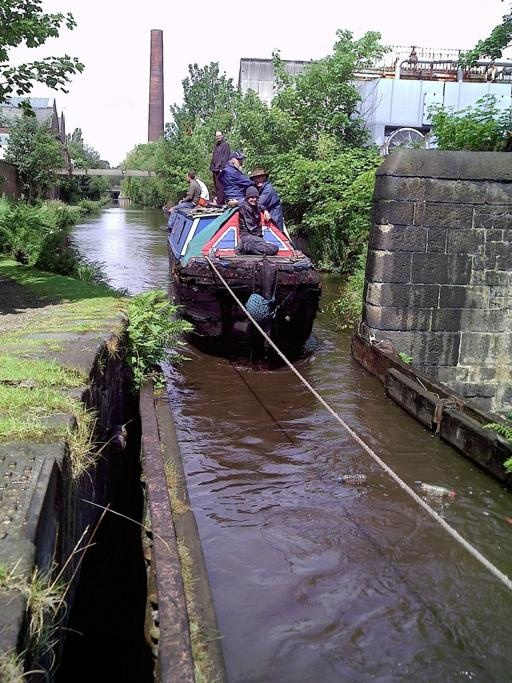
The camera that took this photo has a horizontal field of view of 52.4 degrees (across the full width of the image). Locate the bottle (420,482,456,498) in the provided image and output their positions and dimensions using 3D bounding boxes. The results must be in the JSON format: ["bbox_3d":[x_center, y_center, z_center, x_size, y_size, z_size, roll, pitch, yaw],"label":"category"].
[{"bbox_3d":[1.801,1.470,5.147,0.340,0.075,0.155,5,12,21],"label":"bottle"}]

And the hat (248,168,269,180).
[{"bbox_3d":[0.052,-3.463,10.702,0.298,0.277,0.705,1,12,1],"label":"hat"}]

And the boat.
[{"bbox_3d":[-0.310,-1.069,9.691,2.308,2.905,2.418,-5,13,-24],"label":"boat"}]

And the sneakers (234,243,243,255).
[{"bbox_3d":[-0.333,-1.743,9.845,0.080,0.206,0.158,4,-3,-43],"label":"sneakers"}]

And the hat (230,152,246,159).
[{"bbox_3d":[-0.419,-4.229,11.890,0.342,0.183,0.233,1,17,-16],"label":"hat"}]

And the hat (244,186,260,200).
[{"bbox_3d":[-0.062,-2.833,9.925,0.222,0.179,0.308,0,5,-8],"label":"hat"}]

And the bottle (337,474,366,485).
[{"bbox_3d":[0.991,1.402,5.299,0.182,0.043,0.124,1,9,5],"label":"bottle"}]
